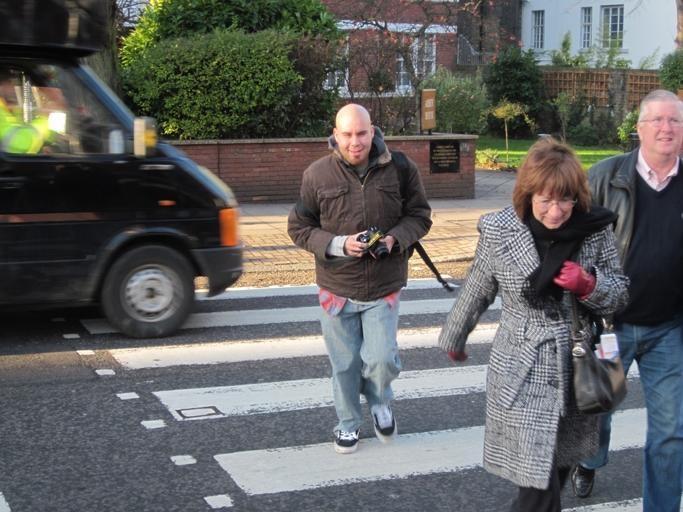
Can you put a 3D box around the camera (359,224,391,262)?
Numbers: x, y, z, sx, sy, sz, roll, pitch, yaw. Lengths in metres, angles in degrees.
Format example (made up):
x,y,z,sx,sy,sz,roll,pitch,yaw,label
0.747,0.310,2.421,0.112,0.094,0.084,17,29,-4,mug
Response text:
x,y,z,sx,sy,sz,roll,pitch,yaw,label
0.213,-0.080,4.280,0.199,0.201,0.089,-41,-15,32,camera

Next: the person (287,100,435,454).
x,y,z,sx,sy,sz,roll,pitch,yaw,label
0.206,0.210,4.599,1.074,2.437,0.973,-4,12,-9,person

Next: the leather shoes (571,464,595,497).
x,y,z,sx,sy,sz,roll,pitch,yaw,label
1.509,1.424,4.092,0.093,0.266,0.115,6,-24,22,leather shoes

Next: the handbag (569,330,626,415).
x,y,z,sx,sy,sz,roll,pitch,yaw,label
1.204,0.560,3.115,0.163,0.445,0.454,-9,-2,34,handbag

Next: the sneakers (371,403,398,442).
x,y,z,sx,sy,sz,roll,pitch,yaw,label
0.318,1.205,4.784,0.133,0.129,0.335,-4,22,-1,sneakers
